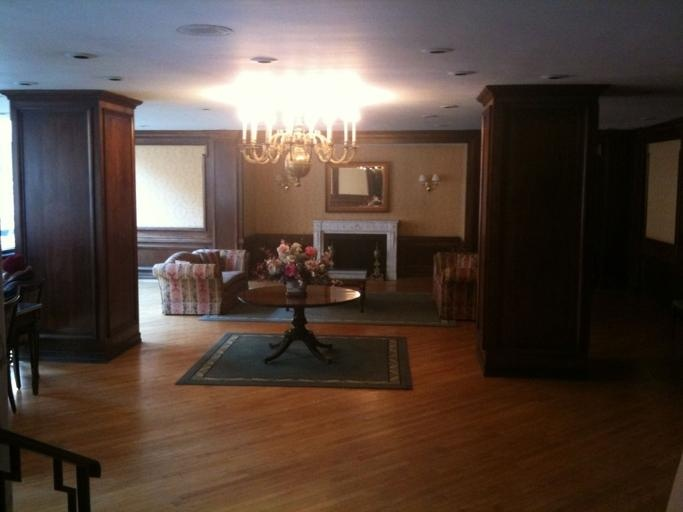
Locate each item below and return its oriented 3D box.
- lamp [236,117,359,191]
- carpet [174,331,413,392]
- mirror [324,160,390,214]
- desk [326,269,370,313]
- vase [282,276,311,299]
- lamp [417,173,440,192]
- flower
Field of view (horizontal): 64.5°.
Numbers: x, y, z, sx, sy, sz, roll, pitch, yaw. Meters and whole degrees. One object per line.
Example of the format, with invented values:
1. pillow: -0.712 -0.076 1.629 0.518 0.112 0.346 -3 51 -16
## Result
1. lamp: -0.755 -1.829 9.670 1.644 1.935 1.624 1 1 17
2. carpet: -0.457 1.269 6.667 2.594 0.076 1.737 1 9 3
3. mirror: 0.420 -1.676 12.772 1.304 0.989 0.089 0 6 4
4. desk: 0.170 0.740 10.336 0.940 0.407 0.610 1 7 10
5. vase: -0.572 0.401 6.910 0.280 0.286 0.277 -1 2 10
6. lamp: 2.044 -1.696 12.656 0.651 0.544 0.337 -1 -5 4
7. flower: -0.679 0.115 7.077 0.912 0.522 0.797 8 7 41
